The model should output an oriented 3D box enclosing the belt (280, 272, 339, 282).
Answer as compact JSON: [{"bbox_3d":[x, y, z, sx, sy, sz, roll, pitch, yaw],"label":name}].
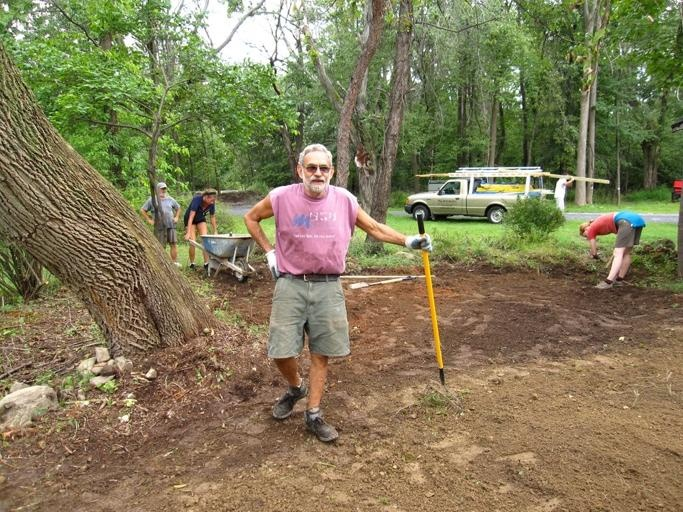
[{"bbox_3d":[-0.324,0.207,5.381,0.595,0.100,0.103,-2,9,-9],"label":"belt"}]

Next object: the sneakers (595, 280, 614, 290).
[{"bbox_3d":[4.362,0.475,9.005,0.292,0.129,0.119,-2,9,25],"label":"sneakers"}]

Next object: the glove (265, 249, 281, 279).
[{"bbox_3d":[-0.703,0.083,5.482,0.102,0.273,0.165,-12,1,36],"label":"glove"}]

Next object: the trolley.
[{"bbox_3d":[-2.313,0.000,10.396,1.569,0.740,0.802,5,8,40],"label":"trolley"}]

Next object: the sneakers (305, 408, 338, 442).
[{"bbox_3d":[-0.230,1.667,5.400,0.415,0.201,0.189,8,9,44],"label":"sneakers"}]

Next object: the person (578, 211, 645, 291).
[{"bbox_3d":[4.485,-0.098,9.025,0.523,1.264,0.787,-5,9,-24],"label":"person"}]
